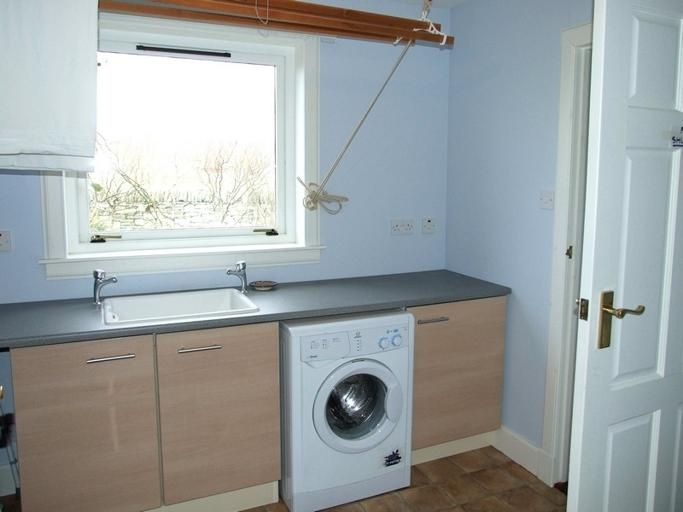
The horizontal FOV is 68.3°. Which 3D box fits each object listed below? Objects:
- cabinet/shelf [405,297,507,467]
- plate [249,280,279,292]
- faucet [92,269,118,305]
[{"bbox_3d":[0.611,0.672,3.220,0.716,0.838,0.649,-5,3,-31],"label":"cabinet/shelf"},{"bbox_3d":[-0.478,0.175,3.035,0.178,0.041,0.201,-5,10,-11],"label":"plate"},{"bbox_3d":[-1.272,0.148,2.697,0.126,0.181,0.224,-7,10,-24],"label":"faucet"}]
